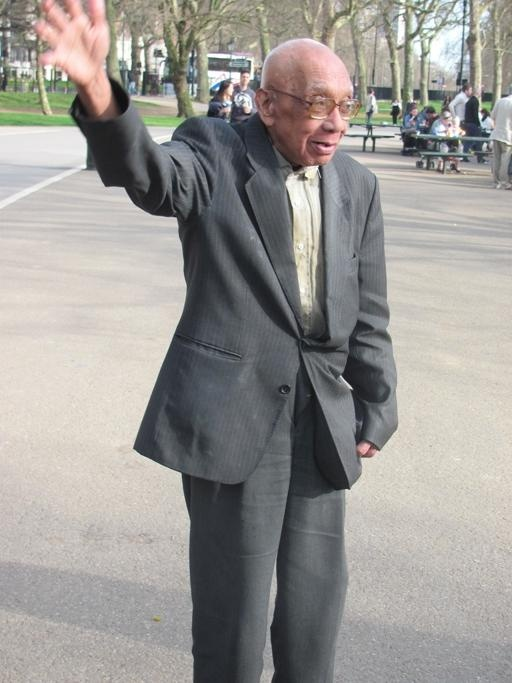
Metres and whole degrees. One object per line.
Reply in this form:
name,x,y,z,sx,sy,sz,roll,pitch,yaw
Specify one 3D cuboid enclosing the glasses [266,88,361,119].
glasses,0.114,-0.505,1.462,0.191,0.068,0.083,-1,14,-2
